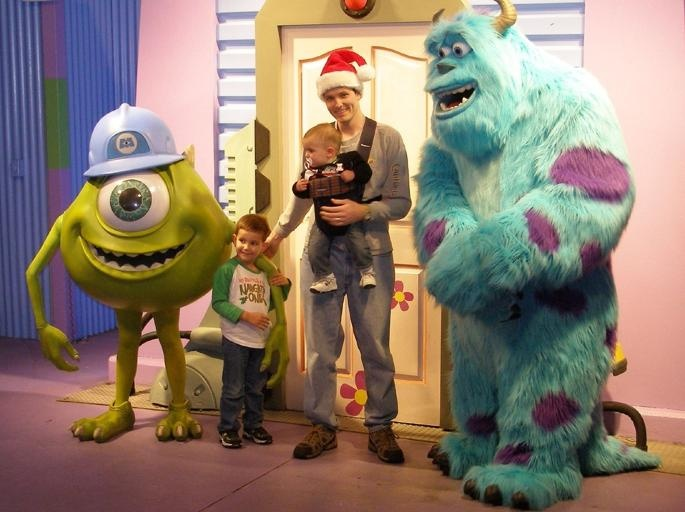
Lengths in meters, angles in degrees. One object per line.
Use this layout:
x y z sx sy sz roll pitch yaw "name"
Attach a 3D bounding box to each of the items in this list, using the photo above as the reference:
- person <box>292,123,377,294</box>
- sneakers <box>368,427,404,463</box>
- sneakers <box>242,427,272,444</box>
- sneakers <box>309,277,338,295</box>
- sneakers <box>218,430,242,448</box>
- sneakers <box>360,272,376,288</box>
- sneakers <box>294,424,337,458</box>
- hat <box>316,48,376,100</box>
-0.042 -0.220 2.963 0.414 0.852 0.224 0 7 2 "person"
0.227 0.980 3.123 0.089 0.116 0.245 0 -3 -28 "sneakers"
-0.454 0.964 3.265 0.158 0.078 0.074 1 -1 31 "sneakers"
-0.095 0.147 2.974 0.127 0.089 0.069 1 10 -19 "sneakers"
-0.587 0.971 3.182 0.056 0.064 0.141 4 -7 -31 "sneakers"
0.125 0.111 2.961 0.072 0.087 0.136 0 7 1 "sneakers"
-0.142 0.969 3.120 0.097 0.129 0.266 -4 -11 31 "sneakers"
0.015 -0.900 2.976 0.262 0.234 0.215 1 2 0 "hat"
